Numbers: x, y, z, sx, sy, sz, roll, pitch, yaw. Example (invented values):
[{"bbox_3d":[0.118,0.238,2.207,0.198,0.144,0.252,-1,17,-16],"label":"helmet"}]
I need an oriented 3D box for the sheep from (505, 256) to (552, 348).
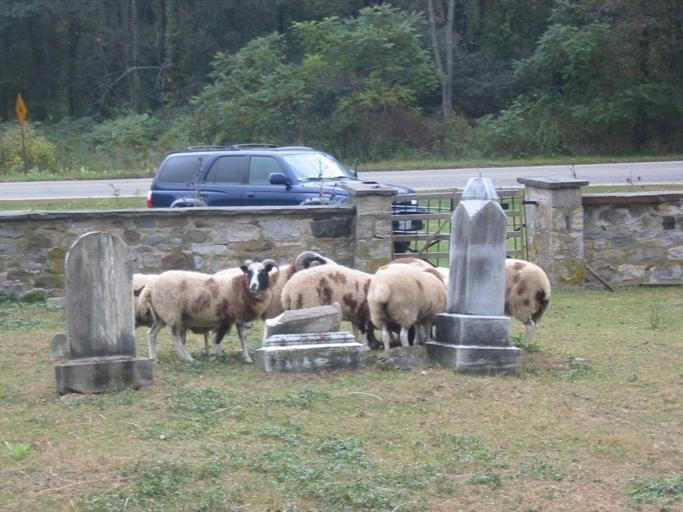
[{"bbox_3d":[7.070,1.172,54.568,1.547,2.246,3.324,-1,19,-18],"label":"sheep"}]
